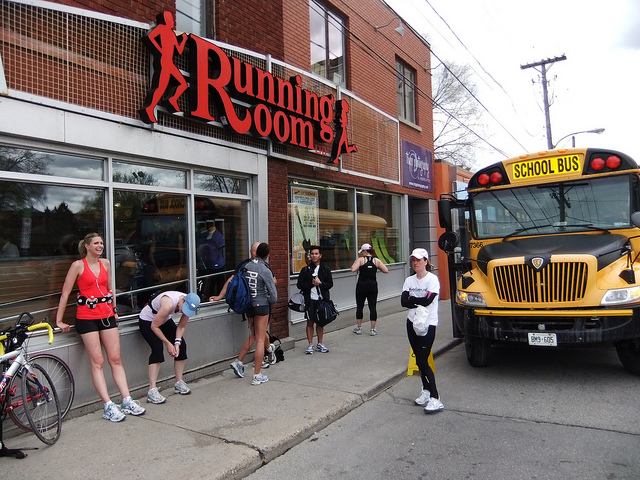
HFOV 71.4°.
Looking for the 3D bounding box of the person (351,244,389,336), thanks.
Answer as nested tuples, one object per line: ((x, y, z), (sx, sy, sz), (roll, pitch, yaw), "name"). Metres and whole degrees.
((1.113, 1.124, 10.258), (0.755, 2.089, 1.082), (-1, 3, 3), "person")

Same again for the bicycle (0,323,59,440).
((-3.401, 1.689, 5.280), (0.556, 1.369, 0.702), (0, 3, 32), "bicycle")

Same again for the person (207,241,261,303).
((-1.265, 0.514, 7.678), (0.544, 0.691, 0.712), (3, 32, 14), "person")

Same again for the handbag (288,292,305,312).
((-0.428, 1.151, 8.395), (0.273, 0.319, 0.310), (2, -14, 38), "handbag")

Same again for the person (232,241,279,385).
((-1.102, 1.169, 7.357), (0.609, 2.218, 0.803), (-2, 3, -23), "person")

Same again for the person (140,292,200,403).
((-2.235, 1.540, 6.579), (0.779, 1.582, 0.628), (-2, 3, -24), "person")

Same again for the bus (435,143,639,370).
((4.517, 0.238, 9.105), (2.926, 3.172, 5.866), (-7, -5, 27), "bus")

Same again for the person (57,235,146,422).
((-2.907, 1.134, 5.847), (0.930, 2.415, 0.541), (-2, 3, -21), "person")

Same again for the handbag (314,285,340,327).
((0.070, 1.190, 8.684), (0.479, 0.908, 0.452), (-9, 4, -44), "handbag")

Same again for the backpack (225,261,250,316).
((-1.311, 0.769, 7.281), (0.443, 0.829, 0.528), (-1, 7, -36), "backpack")

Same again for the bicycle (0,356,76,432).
((-3.473, 1.865, 5.416), (0.209, 0.994, 0.972), (-4, -29, 16), "bicycle")

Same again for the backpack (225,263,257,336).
((-1.273, 0.933, 7.287), (0.505, 1.137, 0.493), (8, 14, 6), "backpack")
